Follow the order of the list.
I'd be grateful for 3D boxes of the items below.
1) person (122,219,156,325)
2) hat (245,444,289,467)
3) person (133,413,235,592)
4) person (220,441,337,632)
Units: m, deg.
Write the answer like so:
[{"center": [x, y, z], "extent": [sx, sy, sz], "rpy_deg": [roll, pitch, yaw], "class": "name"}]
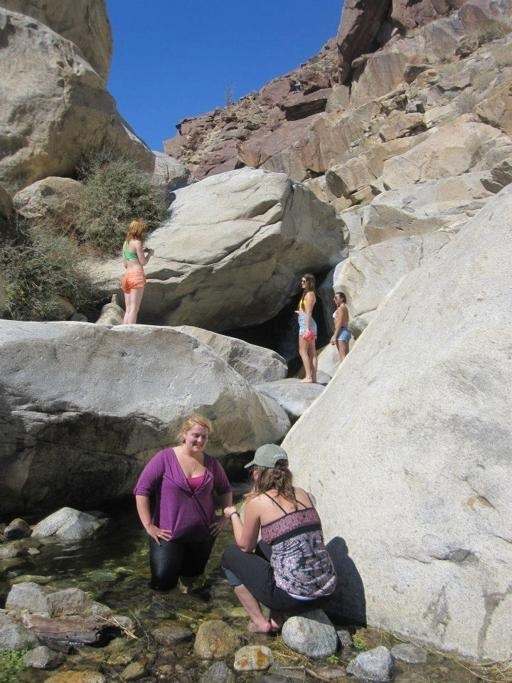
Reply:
[{"center": [-1.201, -0.718, 6.053], "extent": [0.286, 1.066, 0.482], "rpy_deg": [0, 6, -11], "class": "person"}, {"center": [0.055, 0.601, 3.119], "extent": [0.185, 0.090, 0.126], "rpy_deg": [-4, -13, 23], "class": "hat"}, {"center": [-0.398, 0.905, 3.410], "extent": [0.580, 0.967, 0.328], "rpy_deg": [-1, 7, -17], "class": "person"}, {"center": [0.101, 0.984, 3.002], "extent": [0.619, 0.856, 0.345], "rpy_deg": [3, 6, 16], "class": "person"}]
